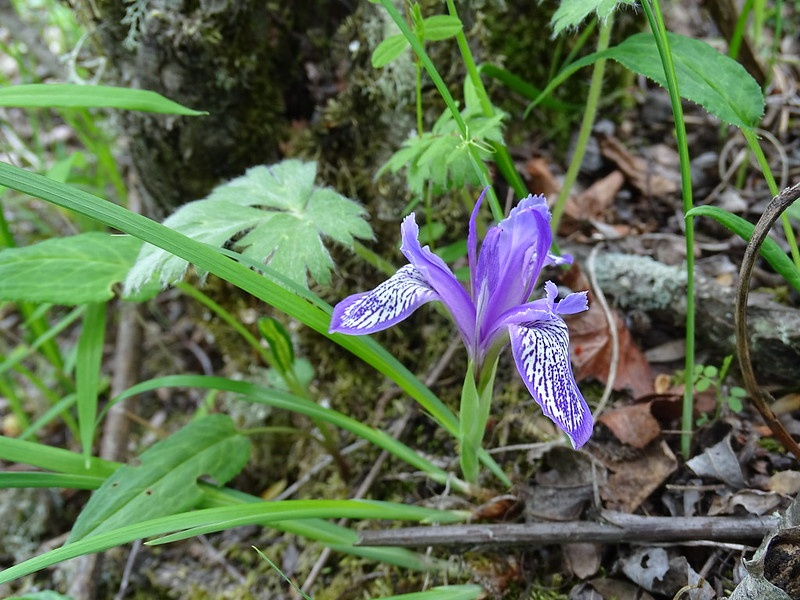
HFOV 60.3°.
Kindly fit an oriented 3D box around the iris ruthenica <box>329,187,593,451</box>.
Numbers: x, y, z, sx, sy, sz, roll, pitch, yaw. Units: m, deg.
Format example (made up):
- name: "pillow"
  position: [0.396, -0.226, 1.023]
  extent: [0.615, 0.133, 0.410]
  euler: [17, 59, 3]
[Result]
- name: "iris ruthenica"
  position: [0.299, -0.026, 2.455]
  extent: [0.847, 0.554, 0.753]
  euler: [8, 58, 31]
